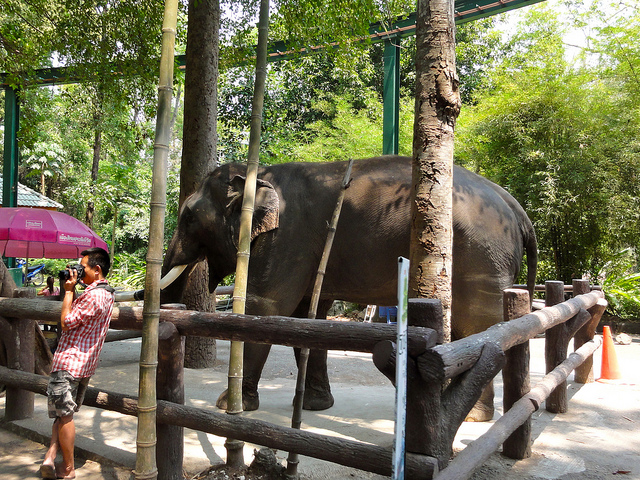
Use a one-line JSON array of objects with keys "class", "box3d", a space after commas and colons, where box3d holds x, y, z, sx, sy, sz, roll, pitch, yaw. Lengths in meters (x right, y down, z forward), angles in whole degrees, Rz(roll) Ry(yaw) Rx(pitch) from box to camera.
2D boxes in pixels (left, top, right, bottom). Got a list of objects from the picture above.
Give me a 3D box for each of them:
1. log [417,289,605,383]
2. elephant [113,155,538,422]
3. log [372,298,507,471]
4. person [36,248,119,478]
[{"class": "log", "box3d": [2.316, 0.540, 5.494, 0.607, 0.492, 6.115, -14, -9, 33]}, {"class": "elephant", "box3d": [0.256, 0.431, 5.899, 4.706, 2.851, 2.110, 0, -9, 11]}, {"class": "log", "box3d": [0.745, 0.759, 3.140, 0.789, 0.960, 0.526, -3, 10, 4]}, {"class": "person", "box3d": [-2.061, 0.917, 4.593, 0.568, 1.752, 1.398, 3, 1, -22]}]
